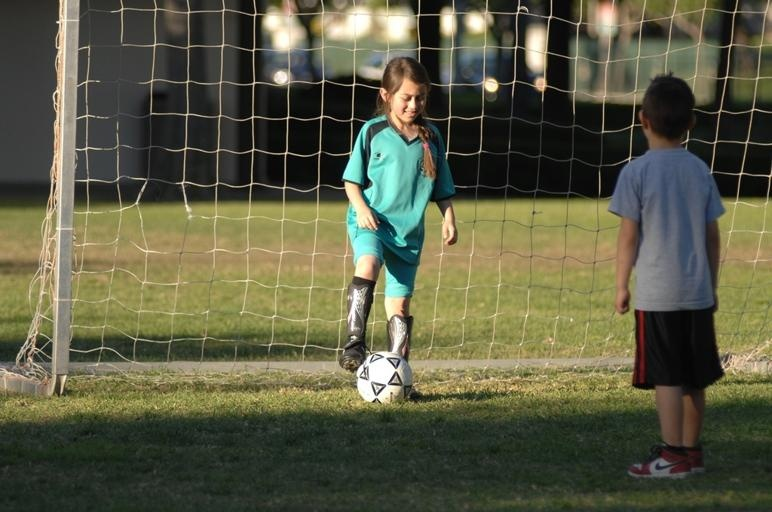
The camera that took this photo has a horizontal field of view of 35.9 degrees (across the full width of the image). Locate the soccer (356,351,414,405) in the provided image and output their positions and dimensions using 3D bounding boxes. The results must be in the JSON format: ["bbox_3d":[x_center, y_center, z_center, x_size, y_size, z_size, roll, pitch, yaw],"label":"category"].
[{"bbox_3d":[-0.038,1.034,10.320,0.447,0.423,0.404,-7,-32,-13],"label":"soccer"}]

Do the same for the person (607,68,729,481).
[{"bbox_3d":[2.195,0.183,9.370,0.826,3.042,0.331,0,3,12],"label":"person"}]

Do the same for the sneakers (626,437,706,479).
[{"bbox_3d":[2.222,1.607,9.482,0.670,0.267,0.234,1,-1,2],"label":"sneakers"}]
